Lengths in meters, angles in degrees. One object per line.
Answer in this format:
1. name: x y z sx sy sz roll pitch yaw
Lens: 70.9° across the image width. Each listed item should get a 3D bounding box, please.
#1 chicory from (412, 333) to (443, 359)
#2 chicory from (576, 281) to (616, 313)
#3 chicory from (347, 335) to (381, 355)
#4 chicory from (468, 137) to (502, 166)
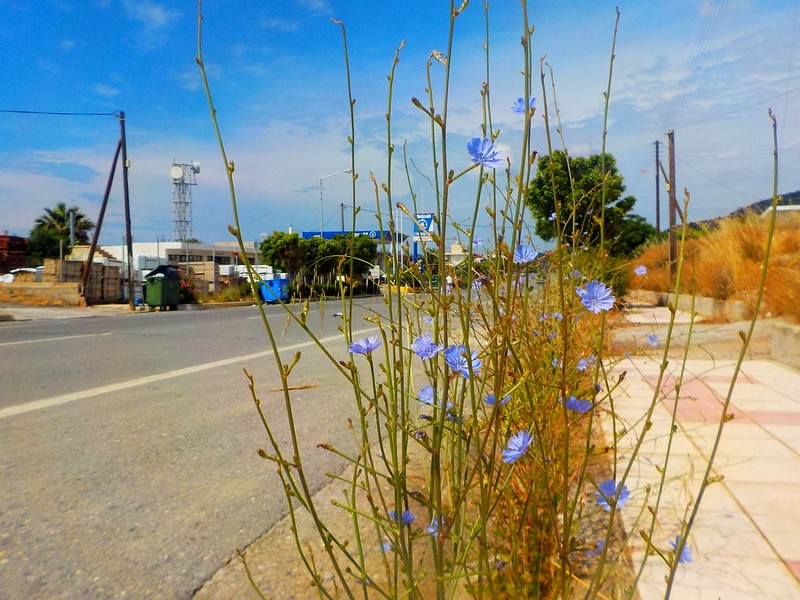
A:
1. chicory: 0.083 0.144 1.716 0.089 0.085 0.142 -3 4 9
2. chicory: 0.594 -0.010 1.711 0.096 0.105 0.039 -25 -2 -23
3. chicory: -0.101 0.136 1.703 0.068 0.035 0.072 -12 0 -19
4. chicory: 0.238 -0.422 1.588 0.081 0.096 0.131 -3 4 9
